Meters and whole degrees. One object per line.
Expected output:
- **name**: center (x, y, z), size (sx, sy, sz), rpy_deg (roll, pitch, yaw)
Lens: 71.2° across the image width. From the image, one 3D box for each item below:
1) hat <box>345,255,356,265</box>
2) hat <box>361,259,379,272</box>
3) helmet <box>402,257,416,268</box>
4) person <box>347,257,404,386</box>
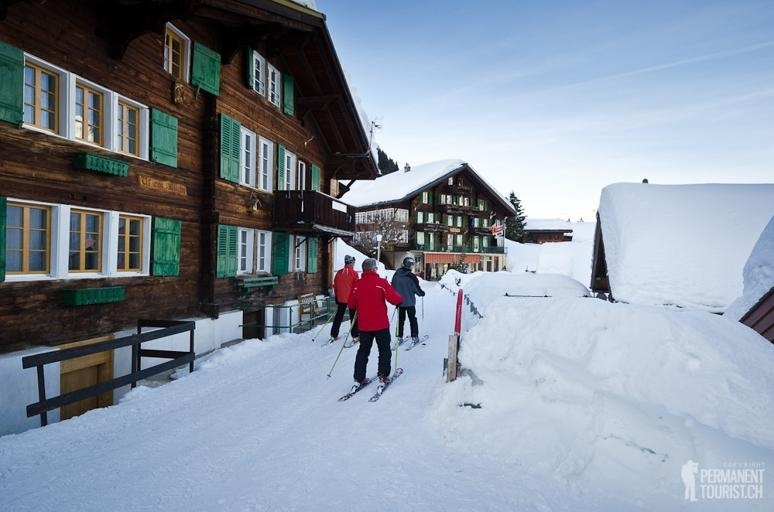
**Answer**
- **hat**: center (-1.087, 0.115, 15.404), size (0.207, 0.247, 0.270), rpy_deg (9, 22, 39)
- **hat**: center (-0.396, 0.217, 12.065), size (0.233, 0.317, 0.306), rpy_deg (2, -3, 14)
- **helmet**: center (0.570, 0.118, 14.195), size (0.236, 0.286, 0.277), rpy_deg (8, -20, 15)
- **person**: center (-0.290, 1.458, 12.103), size (1.048, 2.844, 1.166), rpy_deg (-2, 1, 15)
